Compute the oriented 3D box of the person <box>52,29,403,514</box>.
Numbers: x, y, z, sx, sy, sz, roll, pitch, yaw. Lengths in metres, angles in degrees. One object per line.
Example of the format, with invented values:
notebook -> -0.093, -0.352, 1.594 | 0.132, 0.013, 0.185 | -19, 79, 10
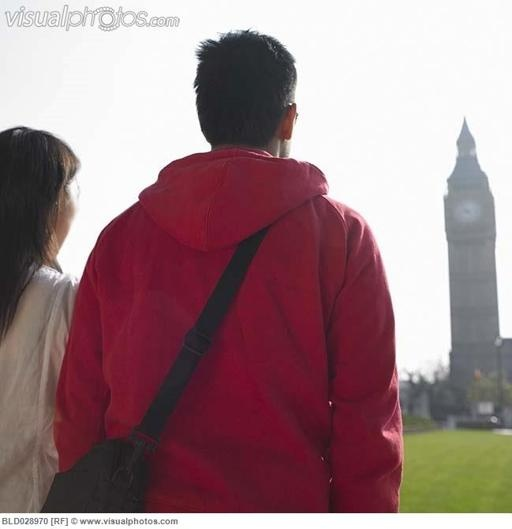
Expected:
person -> -0.106, 0.247, 3.390 | 1.228, 1.281, 0.477 | -3, -17, 17
